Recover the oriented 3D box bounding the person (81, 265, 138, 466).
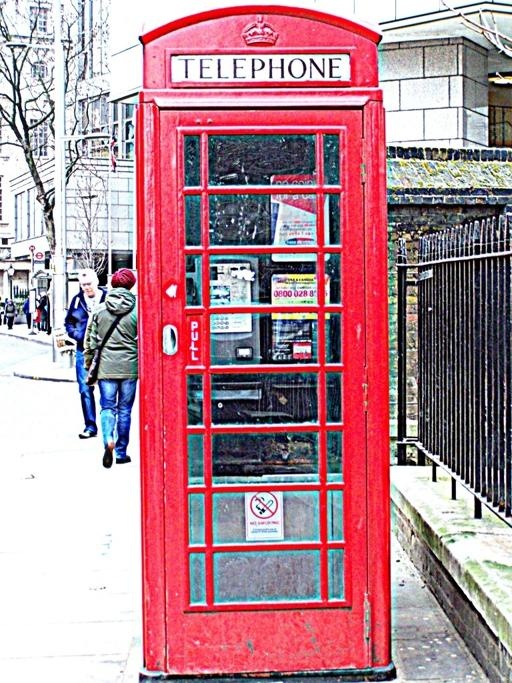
[{"bbox_3d":[-1.033,0.225,9.638,0.374,1.472,0.957,-2,5,-10],"label":"person"}]

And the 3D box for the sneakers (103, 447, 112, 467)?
[{"bbox_3d":[-1.019,0.803,9.209,0.050,0.188,0.065,3,-7,-17],"label":"sneakers"}]
